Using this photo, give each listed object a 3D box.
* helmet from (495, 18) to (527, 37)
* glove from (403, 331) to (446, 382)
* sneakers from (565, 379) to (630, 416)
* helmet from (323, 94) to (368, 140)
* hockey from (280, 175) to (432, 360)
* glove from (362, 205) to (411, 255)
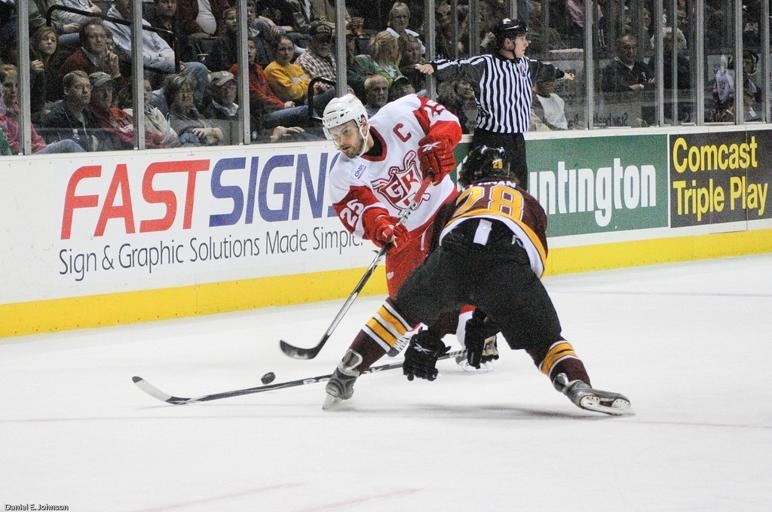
[{"bbox_3d":[0.952,-1.747,9.090,0.172,0.139,0.139,-13,15,27],"label":"helmet"},{"bbox_3d":[0.205,0.552,6.437,0.213,0.257,0.102,28,-2,11],"label":"glove"},{"bbox_3d":[1.067,0.721,6.114,0.415,0.142,0.190,9,0,-1],"label":"sneakers"},{"bbox_3d":[-0.229,-0.801,6.876,0.233,0.258,0.219,-3,4,2],"label":"helmet"},{"bbox_3d":[-0.217,0.064,7.620,1.524,0.206,0.212,-52,24,-20],"label":"hockey"},{"bbox_3d":[-0.016,-0.134,6.896,0.269,0.127,0.201,22,20,-35],"label":"glove"}]
